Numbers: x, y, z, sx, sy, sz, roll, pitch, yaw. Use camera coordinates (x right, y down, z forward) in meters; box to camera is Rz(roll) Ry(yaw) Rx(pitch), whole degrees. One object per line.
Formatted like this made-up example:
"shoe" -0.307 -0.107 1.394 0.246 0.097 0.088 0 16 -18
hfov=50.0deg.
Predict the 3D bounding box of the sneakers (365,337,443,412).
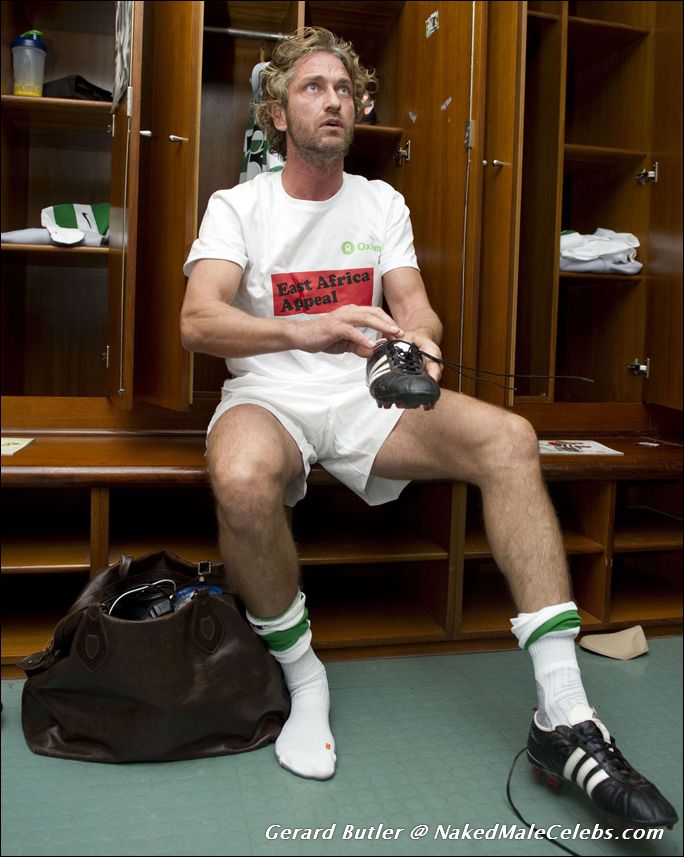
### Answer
"sneakers" 0.105 -0.099 1.301 0.105 0.114 0.187 1 7 -7

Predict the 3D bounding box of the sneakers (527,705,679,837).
"sneakers" 0.400 0.499 1.134 0.092 0.105 0.252 -15 7 -24

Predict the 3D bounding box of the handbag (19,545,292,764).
"handbag" -0.329 0.397 1.315 0.461 0.274 0.278 -3 17 -14

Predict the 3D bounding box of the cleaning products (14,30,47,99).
"cleaning products" -0.927 -1.085 2.186 0.101 0.176 0.099 11 14 31
